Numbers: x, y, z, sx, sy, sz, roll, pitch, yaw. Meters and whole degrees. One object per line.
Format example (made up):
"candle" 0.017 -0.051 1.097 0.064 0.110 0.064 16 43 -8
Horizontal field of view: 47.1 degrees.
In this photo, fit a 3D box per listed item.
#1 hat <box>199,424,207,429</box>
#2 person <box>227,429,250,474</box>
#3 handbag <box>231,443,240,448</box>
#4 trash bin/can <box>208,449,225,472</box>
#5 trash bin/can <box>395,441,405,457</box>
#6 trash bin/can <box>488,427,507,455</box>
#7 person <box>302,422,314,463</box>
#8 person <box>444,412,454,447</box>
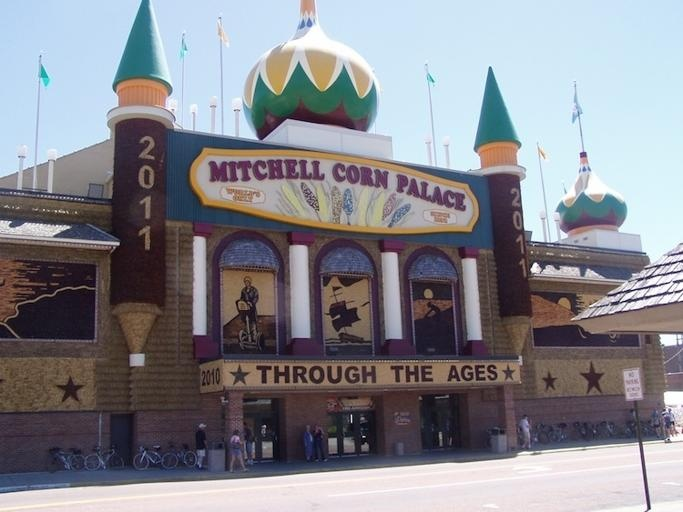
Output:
"hat" -6.738 8.062 37.136 0.340 0.335 0.275 -2 2 -11
"person" -4.837 8.749 35.484 0.789 1.857 1.207 -1 -14 -8
"handbag" -4.856 8.437 34.990 0.219 0.174 0.231 2 -8 1
"trash bin/can" -5.748 9.094 34.964 0.789 1.132 0.577 8 -16 -38
"trash bin/can" 3.120 10.168 41.421 0.544 1.085 0.577 -1 -3 -4
"trash bin/can" 8.796 10.016 42.762 1.106 2.068 1.114 1 -9 -5
"person" -1.693 9.176 38.628 0.499 1.795 1.512 -2 -14 -5
"person" 6.162 9.885 44.639 0.485 1.783 0.198 6 -17 -33
